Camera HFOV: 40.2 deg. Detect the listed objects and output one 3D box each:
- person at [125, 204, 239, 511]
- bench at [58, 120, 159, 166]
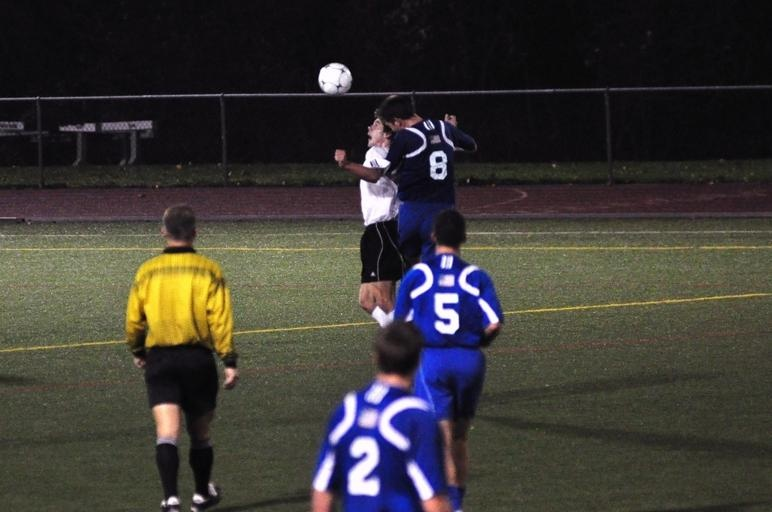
[{"bbox_3d":[-1.690,0.881,8.822,0.741,2.553,0.772,-8,14,-31],"label":"person"},{"bbox_3d":[-10.618,-4.164,39.162,0.866,1.513,3.970,14,12,40],"label":"bench"}]
